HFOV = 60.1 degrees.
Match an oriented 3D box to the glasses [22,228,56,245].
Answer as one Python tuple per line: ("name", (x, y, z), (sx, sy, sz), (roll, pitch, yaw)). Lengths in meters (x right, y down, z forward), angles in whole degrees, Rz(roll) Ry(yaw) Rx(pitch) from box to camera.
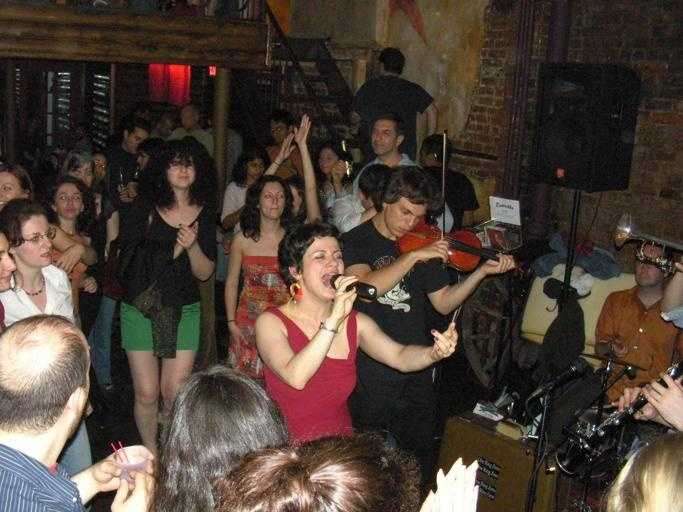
("glasses", (-1.855, -0.135, 3.674), (0.114, 0.072, 0.316), (5, 11, -5))

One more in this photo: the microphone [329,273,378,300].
("microphone", (0.061, 0.167, 3.103), (0.236, 0.130, 0.212), (5, 11, -5))
